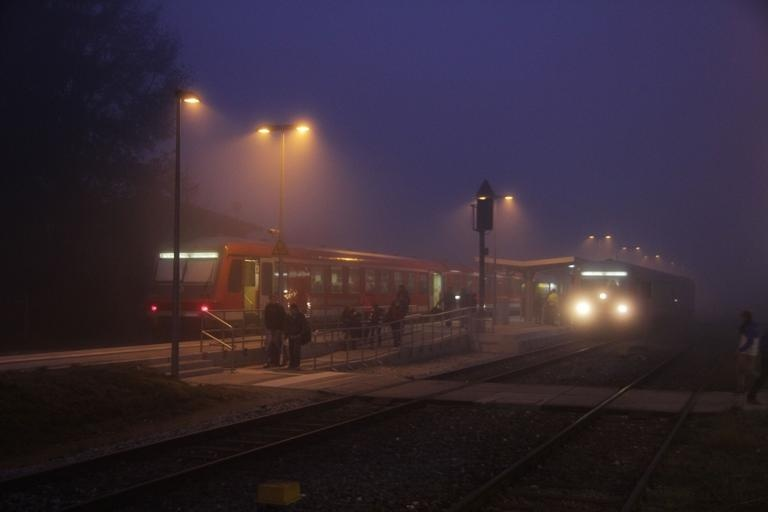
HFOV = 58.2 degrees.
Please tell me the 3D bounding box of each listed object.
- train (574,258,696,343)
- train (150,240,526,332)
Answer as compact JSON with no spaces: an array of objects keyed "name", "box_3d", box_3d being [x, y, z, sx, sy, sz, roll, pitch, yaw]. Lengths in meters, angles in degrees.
[{"name":"train","box_3d":[14.141,2.804,39.944,3.094,3.655,11.273,0,-7,30]},{"name":"train","box_3d":[-2.957,1.599,32.293,2.835,3.989,22.098,-3,-7,29]}]
